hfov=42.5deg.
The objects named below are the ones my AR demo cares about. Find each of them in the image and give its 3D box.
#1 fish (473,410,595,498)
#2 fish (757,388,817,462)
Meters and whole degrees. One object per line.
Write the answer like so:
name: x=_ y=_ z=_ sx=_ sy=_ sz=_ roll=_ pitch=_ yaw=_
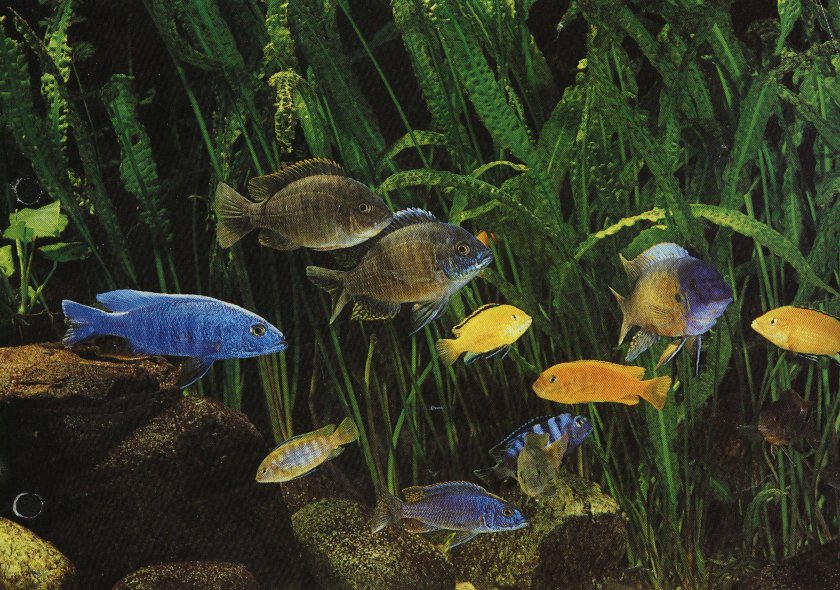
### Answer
fish: x=0.590 y=0.840 z=5.694 sx=0.608 sy=0.420 sz=0.225 roll=0 pitch=24 yaw=5
fish: x=2.086 y=0.727 z=6.194 sx=0.360 sy=0.331 sz=0.121 roll=-4 pitch=23 yaw=-5
